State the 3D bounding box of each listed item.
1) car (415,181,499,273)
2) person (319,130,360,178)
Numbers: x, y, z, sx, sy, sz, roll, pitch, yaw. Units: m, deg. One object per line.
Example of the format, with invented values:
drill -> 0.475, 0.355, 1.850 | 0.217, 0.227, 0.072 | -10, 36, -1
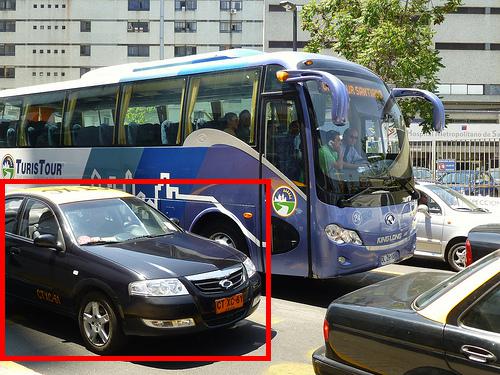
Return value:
car -> 4.232, 0.801, 11.227 | 2.031, 1.146, 1.344 | -1, 3, 20
person -> 1.359, -0.576, 8.365 | 0.551, 0.782, 0.280 | 3, -20, -7
